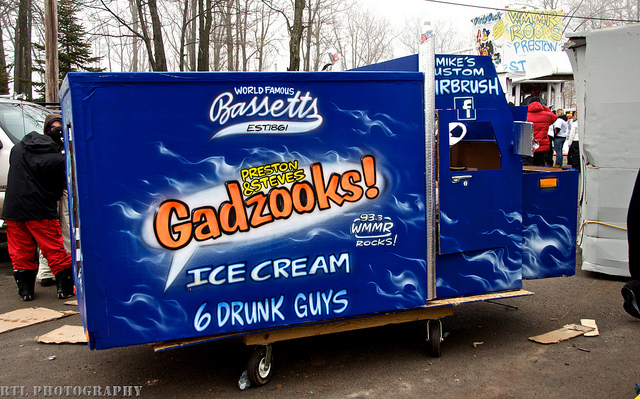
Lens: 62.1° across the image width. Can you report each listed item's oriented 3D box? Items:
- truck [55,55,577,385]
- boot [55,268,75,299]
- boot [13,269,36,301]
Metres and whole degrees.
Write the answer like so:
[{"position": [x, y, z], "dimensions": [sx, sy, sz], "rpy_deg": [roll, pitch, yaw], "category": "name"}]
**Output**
[{"position": [0.369, 0.091, 7.131], "dimensions": [6.505, 3.356, 2.239], "rpy_deg": [-4, 6, -21], "category": "truck"}, {"position": [-3.951, 1.298, 8.201], "dimensions": [0.215, 0.434, 0.483], "rpy_deg": [-6, -9, -13], "category": "boot"}, {"position": [-4.423, 1.267, 8.015], "dimensions": [0.284, 0.485, 0.197], "rpy_deg": [-9, 9, -30], "category": "boot"}]
